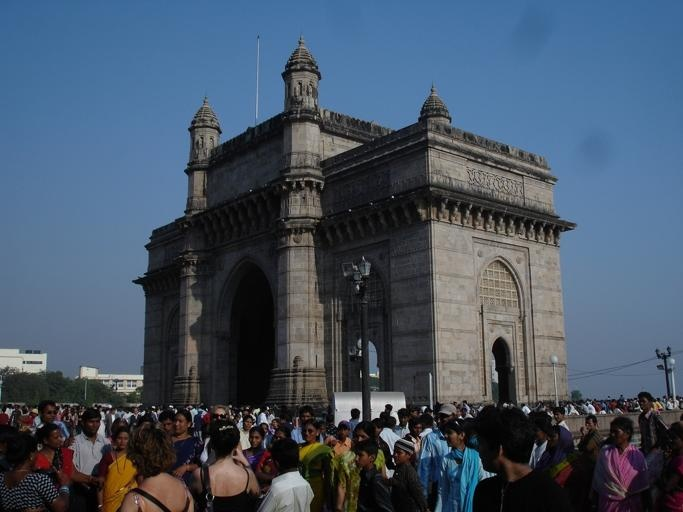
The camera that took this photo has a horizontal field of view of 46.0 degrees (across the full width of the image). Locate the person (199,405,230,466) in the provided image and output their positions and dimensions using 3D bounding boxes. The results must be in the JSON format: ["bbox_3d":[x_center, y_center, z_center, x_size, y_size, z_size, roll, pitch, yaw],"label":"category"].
[{"bbox_3d":[-2.086,2.948,12.987,0.399,1.214,0.390,2,11,-37],"label":"person"}]
